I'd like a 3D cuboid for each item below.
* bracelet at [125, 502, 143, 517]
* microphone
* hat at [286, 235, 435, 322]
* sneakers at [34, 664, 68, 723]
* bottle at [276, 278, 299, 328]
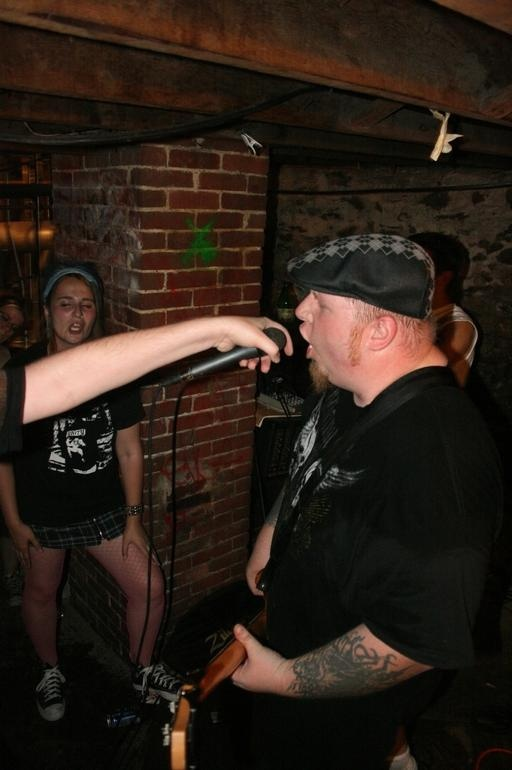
[{"bbox_3d":[-0.540,0.554,3.021,0.068,0.041,0.068,-3,-11,-3],"label":"bracelet"},{"bbox_3d":[-0.124,-0.086,2.197,0.510,0.117,0.105,-17,52,16],"label":"microphone"},{"bbox_3d":[0.313,-0.340,1.912,0.415,0.162,0.276,15,37,6],"label":"hat"},{"bbox_3d":[-0.901,1.376,3.003,0.109,0.105,0.260,3,2,-18],"label":"sneakers"},{"bbox_3d":[0.235,-0.587,5.013,0.124,0.362,0.112,-5,27,-3],"label":"bottle"}]
